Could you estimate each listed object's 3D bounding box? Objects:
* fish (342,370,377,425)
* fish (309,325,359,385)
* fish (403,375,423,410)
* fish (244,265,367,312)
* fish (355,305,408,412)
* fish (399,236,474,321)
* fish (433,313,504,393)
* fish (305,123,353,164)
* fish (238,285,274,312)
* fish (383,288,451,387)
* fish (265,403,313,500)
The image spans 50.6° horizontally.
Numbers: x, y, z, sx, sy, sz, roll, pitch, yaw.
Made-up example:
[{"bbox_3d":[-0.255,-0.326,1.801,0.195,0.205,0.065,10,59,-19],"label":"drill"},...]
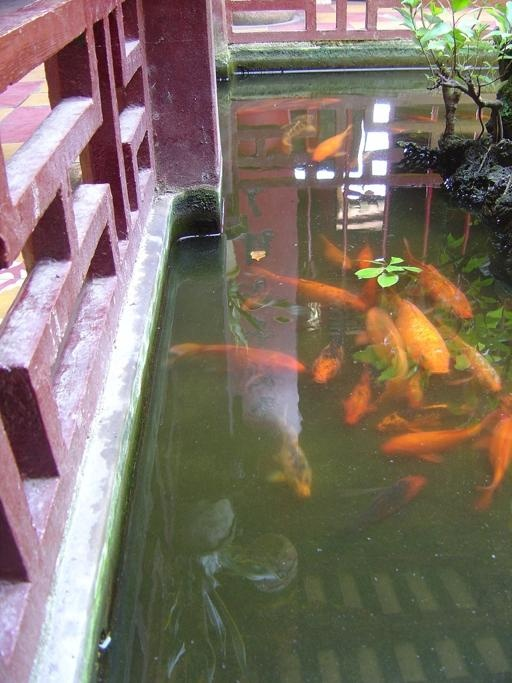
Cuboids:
[{"bbox_3d":[0.328,0.184,1.750,0.054,0.058,0.199,15,40,6],"label":"fish"},{"bbox_3d":[0.266,0.045,1.970,0.078,0.114,0.286,4,33,20],"label":"fish"},{"bbox_3d":[0.518,0.190,1.795,0.054,0.027,0.136,-28,29,27],"label":"fish"},{"bbox_3d":[0.218,-0.230,2.431,0.301,0.095,0.090,24,9,12],"label":"fish"},{"bbox_3d":[0.468,0.017,2.056,0.199,0.116,0.420,58,20,15],"label":"fish"},{"bbox_3d":[0.821,-0.243,2.502,0.468,0.181,0.107,45,49,17],"label":"fish"},{"bbox_3d":[0.785,0.050,1.988,0.094,0.089,0.347,8,32,-12],"label":"fish"},{"bbox_3d":[0.570,-1.567,4.319,0.213,0.167,0.508,21,51,17],"label":"fish"},{"bbox_3d":[-0.004,-0.185,2.389,0.136,0.024,0.179,-4,30,-6],"label":"fish"},{"bbox_3d":[0.598,-0.016,2.105,0.082,0.197,0.499,-20,26,10],"label":"fish"},{"bbox_3d":[0.093,0.323,1.543,0.075,0.074,0.213,4,26,-6],"label":"fish"}]
